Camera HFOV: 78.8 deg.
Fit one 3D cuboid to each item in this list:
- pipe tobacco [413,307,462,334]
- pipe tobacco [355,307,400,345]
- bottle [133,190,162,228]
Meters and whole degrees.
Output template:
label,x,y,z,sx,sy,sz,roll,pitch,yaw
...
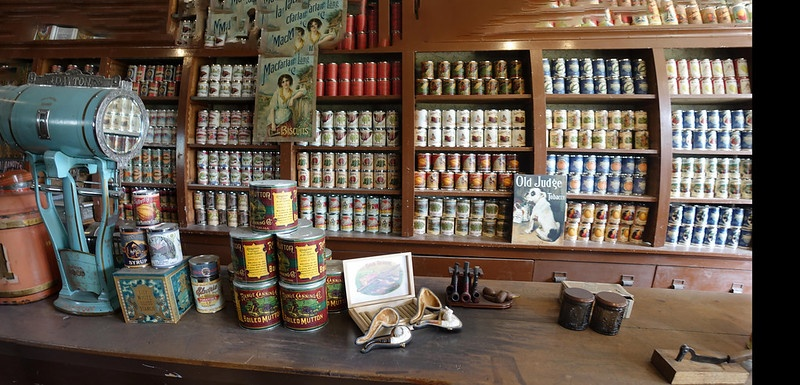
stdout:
label,x,y,z,sx,sy,sz,roll,pitch,yaw
pipe tobacco,0.283,0.991,3.774,0.351,0.097,0.175,-5,39,-7
pipe tobacco,-0.174,1.009,3.723,0.391,0.184,0.096,-29,-18,-13
bottle,-2.023,0.122,3.883,0.194,0.272,0.236,-7,12,-25
